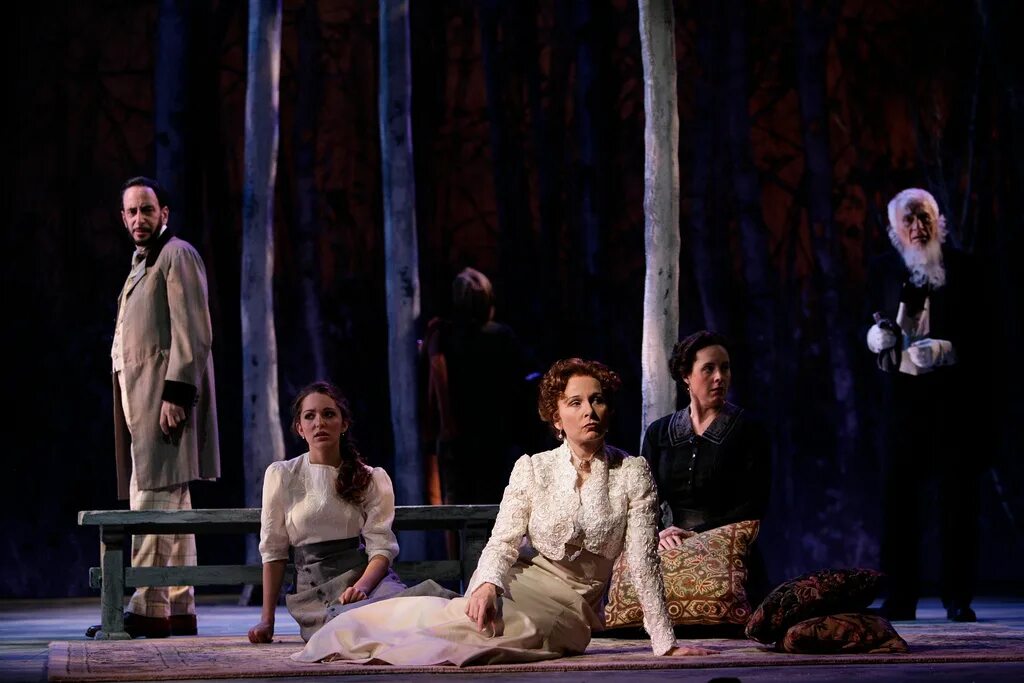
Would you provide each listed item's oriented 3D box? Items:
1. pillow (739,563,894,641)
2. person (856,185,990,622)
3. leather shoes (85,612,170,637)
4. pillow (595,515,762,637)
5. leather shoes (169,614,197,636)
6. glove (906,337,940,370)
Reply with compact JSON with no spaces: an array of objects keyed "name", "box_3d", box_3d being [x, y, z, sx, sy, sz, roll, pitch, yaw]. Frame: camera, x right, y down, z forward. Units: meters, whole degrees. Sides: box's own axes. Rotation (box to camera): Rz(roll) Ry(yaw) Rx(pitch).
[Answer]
[{"name":"pillow","box_3d":[1.543,1.351,7.722,0.532,0.170,0.396,-21,26,18]},{"name":"person","box_3d":[2.637,0.378,9.328,0.776,2.707,0.306,-1,-9,4]},{"name":"leather shoes","box_3d":[-2.166,1.648,8.543,0.505,0.221,0.174,5,-9,-11]},{"name":"pillow","box_3d":[1.049,1.308,8.120,0.624,0.613,0.212,-7,-46,25]},{"name":"leather shoes","box_3d":[-1.896,1.650,8.604,0.121,0.095,0.125,-1,-1,-1]},{"name":"glove","box_3d":[2.566,0.078,9.282,0.194,0.190,0.150,-9,5,-39]}]
